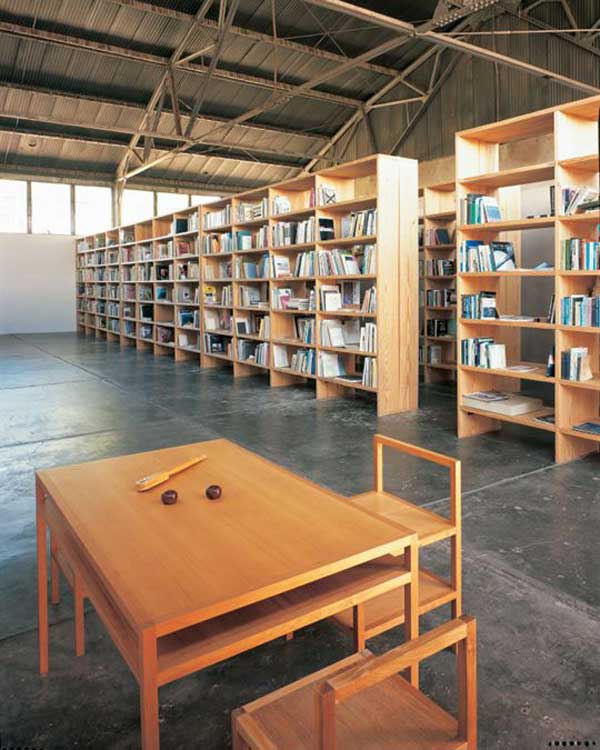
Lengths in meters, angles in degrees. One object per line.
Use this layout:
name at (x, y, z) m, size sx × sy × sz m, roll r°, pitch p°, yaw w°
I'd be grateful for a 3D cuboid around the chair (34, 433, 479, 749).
chair at (-0.237, 0.584, 1.578) m, size 0.709 × 0.556 × 0.885 m, roll -6°, pitch 10°, yaw -34°
